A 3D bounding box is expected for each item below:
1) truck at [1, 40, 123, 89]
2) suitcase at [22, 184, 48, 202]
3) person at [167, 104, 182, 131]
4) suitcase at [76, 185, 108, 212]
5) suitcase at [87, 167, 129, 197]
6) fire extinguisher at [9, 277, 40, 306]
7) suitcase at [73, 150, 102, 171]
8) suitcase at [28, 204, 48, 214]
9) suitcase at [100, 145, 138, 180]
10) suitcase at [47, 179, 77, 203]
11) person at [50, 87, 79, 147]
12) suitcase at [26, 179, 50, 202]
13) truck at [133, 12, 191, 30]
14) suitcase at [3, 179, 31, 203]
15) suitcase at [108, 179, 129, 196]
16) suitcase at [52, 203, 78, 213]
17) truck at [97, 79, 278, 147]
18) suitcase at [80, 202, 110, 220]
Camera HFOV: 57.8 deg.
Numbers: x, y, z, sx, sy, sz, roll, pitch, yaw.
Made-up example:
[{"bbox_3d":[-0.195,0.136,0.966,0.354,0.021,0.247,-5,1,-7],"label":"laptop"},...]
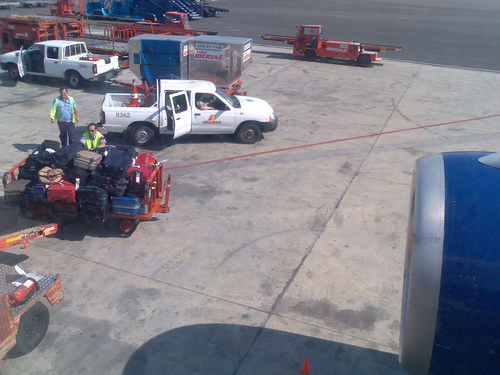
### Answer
[{"bbox_3d":[-8.883,-5.967,21.378,4.499,1.517,2.532,14,34,9],"label":"truck"},{"bbox_3d":[-4.828,0.142,10.191,0.491,0.336,0.301,-11,29,-23],"label":"suitcase"},{"bbox_3d":[-2.560,-2.262,14.780,0.526,0.695,0.669,8,6,25],"label":"person"},{"bbox_3d":[-3.552,0.213,10.311,0.643,0.414,0.484,2,14,-1],"label":"suitcase"},{"bbox_3d":[-3.278,-0.104,10.327,0.794,0.298,0.491,13,45,2],"label":"suitcase"},{"bbox_3d":[-3.747,1.707,7.481,0.333,0.203,0.507,27,26,-6],"label":"fire extinguisher"},{"bbox_3d":[-3.759,-0.659,10.565,0.550,0.256,0.459,19,26,35],"label":"suitcase"},{"bbox_3d":[-4.849,0.481,10.355,0.469,0.296,0.102,4,28,5],"label":"suitcase"},{"bbox_3d":[-3.127,-0.578,10.621,0.648,0.514,0.899,4,27,6],"label":"suitcase"},{"bbox_3d":[-4.207,0.092,10.244,0.630,0.382,0.396,5,27,7],"label":"suitcase"},{"bbox_3d":[-5.472,-2.067,13.366,0.719,1.802,0.537,-10,29,-20],"label":"person"},{"bbox_3d":[-4.775,0.063,10.259,0.392,0.476,0.179,-1,-6,-1],"label":"suitcase"},{"bbox_3d":[-6.027,-11.593,31.614,3.278,1.427,2.225,5,28,6],"label":"truck"},{"bbox_3d":[-5.314,0.064,10.277,0.545,0.210,0.547,-5,40,-16],"label":"suitcase"},{"bbox_3d":[-3.020,-0.008,10.350,0.296,0.396,0.417,30,16,39],"label":"suitcase"},{"bbox_3d":[-4.162,0.447,10.236,0.506,0.261,0.104,2,27,1],"label":"suitcase"},{"bbox_3d":[-2.170,-2.568,15.325,5.086,1.718,2.643,0,38,-3],"label":"truck"},{"bbox_3d":[-3.501,0.545,10.149,0.454,0.218,0.398,6,24,6],"label":"suitcase"}]
